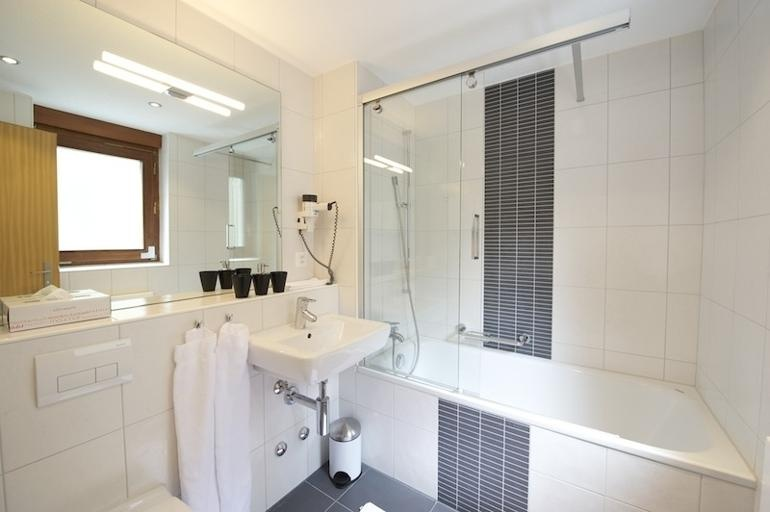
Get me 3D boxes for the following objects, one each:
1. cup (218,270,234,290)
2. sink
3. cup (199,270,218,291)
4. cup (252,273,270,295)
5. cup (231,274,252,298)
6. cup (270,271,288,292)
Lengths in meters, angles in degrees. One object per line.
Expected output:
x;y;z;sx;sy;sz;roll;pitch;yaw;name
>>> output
-1.056;0.157;3.421;0.118;0.138;0.121;2;1;0;cup
-0.411;0.606;3.397;0.593;0.219;0.838;6;11;33;sink
-1.144;0.162;3.339;0.118;0.113;0.114;2;3;0;cup
-0.810;0.188;3.370;0.131;0.149;0.130;1;-1;0;cup
-0.916;0.189;3.375;0.142;0.155;0.149;3;5;0;cup
-0.716;0.174;3.470;0.128;0.139;0.130;3;0;0;cup
